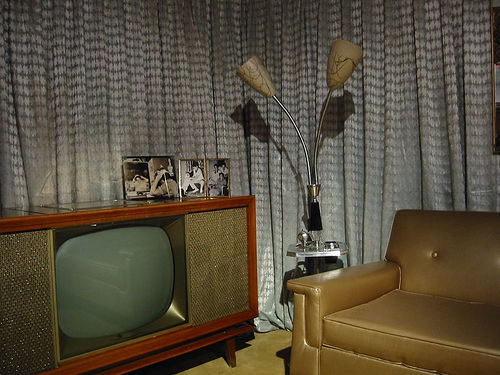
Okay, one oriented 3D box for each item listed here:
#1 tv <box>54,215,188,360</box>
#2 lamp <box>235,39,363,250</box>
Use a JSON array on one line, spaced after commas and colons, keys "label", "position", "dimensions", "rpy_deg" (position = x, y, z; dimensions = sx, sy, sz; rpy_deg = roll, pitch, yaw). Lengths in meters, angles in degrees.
[{"label": "tv", "position": [-0.627, 0.428, 2.047], "dimensions": [0.797, 0.801, 0.449], "rpy_deg": [1, -7, -43]}, {"label": "lamp", "position": [0.315, -0.280, 2.436], "dimensions": [0.708, 1.146, 0.412], "rpy_deg": [-2, 0, 11]}]
